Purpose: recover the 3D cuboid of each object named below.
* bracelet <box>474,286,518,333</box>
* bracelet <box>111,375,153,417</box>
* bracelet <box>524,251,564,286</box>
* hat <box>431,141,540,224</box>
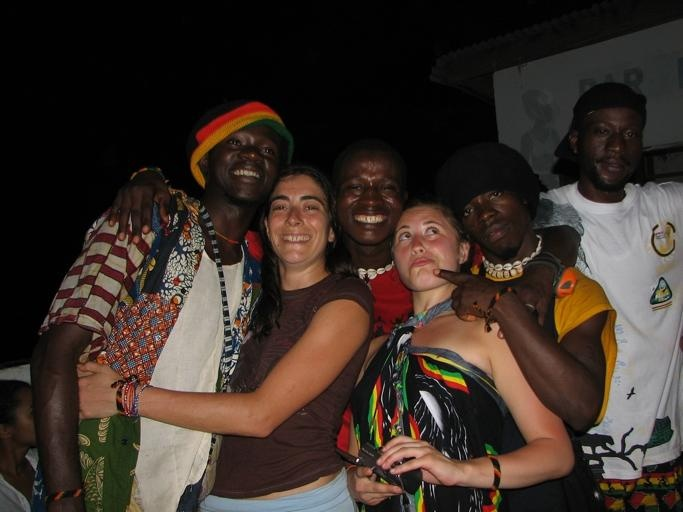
[{"bbox_3d":[1.081,0.362,4.234,0.072,0.272,0.241,25,-7,43],"label":"bracelet"},{"bbox_3d":[-1.471,0.955,4.155,0.285,0.207,0.135,7,-7,24],"label":"bracelet"},{"bbox_3d":[1.610,0.055,4.786,0.198,0.339,0.112,-2,-54,8],"label":"bracelet"},{"bbox_3d":[1.170,-0.572,5.272,0.823,0.600,0.592,28,-30,-5],"label":"hat"}]
